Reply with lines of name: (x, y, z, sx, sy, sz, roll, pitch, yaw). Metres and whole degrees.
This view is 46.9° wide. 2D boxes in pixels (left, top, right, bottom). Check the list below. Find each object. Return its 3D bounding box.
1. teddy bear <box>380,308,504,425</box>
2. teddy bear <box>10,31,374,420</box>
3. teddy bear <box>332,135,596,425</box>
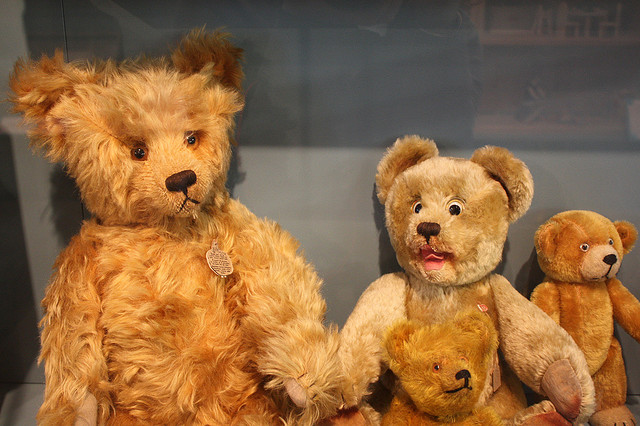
teddy bear: (0.272, 0.337, 1.923, 0.378, 0.383, 0.263, 0, -3, -14)
teddy bear: (-0.342, 0.031, 1.863, 0.864, 0.970, 0.361, 2, 7, 1)
teddy bear: (0.351, 0.200, 2.195, 0.919, 1.005, 0.658, 0, 3, 4)
